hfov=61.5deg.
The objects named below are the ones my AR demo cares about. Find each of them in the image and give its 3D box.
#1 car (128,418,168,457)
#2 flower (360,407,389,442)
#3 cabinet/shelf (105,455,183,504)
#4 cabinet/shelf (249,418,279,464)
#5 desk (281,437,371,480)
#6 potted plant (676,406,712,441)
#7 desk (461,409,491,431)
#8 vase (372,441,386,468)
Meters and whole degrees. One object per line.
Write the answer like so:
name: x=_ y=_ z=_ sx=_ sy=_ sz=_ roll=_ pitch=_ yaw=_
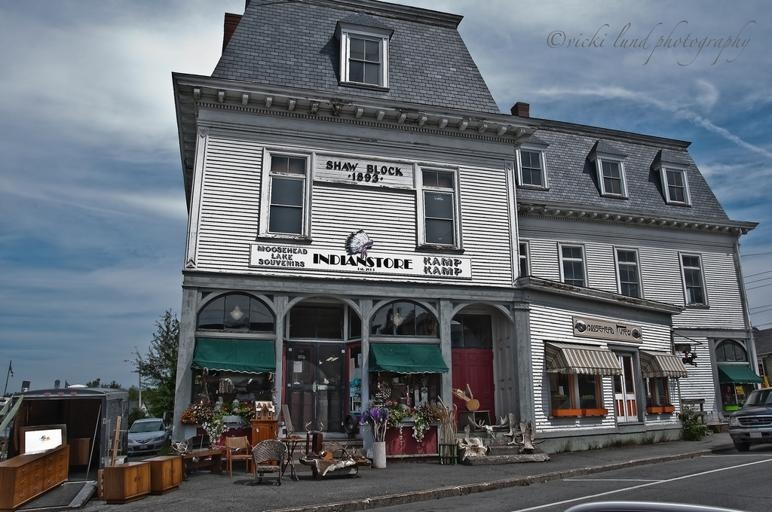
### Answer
car: x=-10.997 y=8.352 z=30.109 sx=1.435 sy=1.167 sz=2.718 roll=-1 pitch=-19 yaw=-8
flower: x=-0.382 y=5.773 z=22.472 sx=0.975 sy=1.239 sz=0.757 roll=-6 pitch=-17 yaw=14
cabinet/shelf: x=-6.664 y=6.108 z=17.848 sx=0.563 sy=1.152 sz=2.189 roll=-14 pitch=-21 yaw=35
cabinet/shelf: x=-4.133 y=5.887 z=21.666 sx=1.024 sy=1.419 sz=0.992 roll=-1 pitch=-10 yaw=-4
desk: x=-1.780 y=6.434 z=20.350 sx=2.347 sy=1.049 sz=1.646 roll=7 pitch=-14 yaw=-21
potted plant: x=13.385 y=7.320 z=28.491 sx=0.970 sy=1.435 sz=0.758 roll=-13 pitch=-20 yaw=32
desk: x=3.499 y=6.299 z=24.711 sx=1.298 sy=0.831 sz=0.682 roll=11 pitch=-22 yaw=-31
vase: x=-0.233 y=6.741 z=22.121 sx=0.412 sy=0.889 sz=0.353 roll=0 pitch=-17 yaw=-6
